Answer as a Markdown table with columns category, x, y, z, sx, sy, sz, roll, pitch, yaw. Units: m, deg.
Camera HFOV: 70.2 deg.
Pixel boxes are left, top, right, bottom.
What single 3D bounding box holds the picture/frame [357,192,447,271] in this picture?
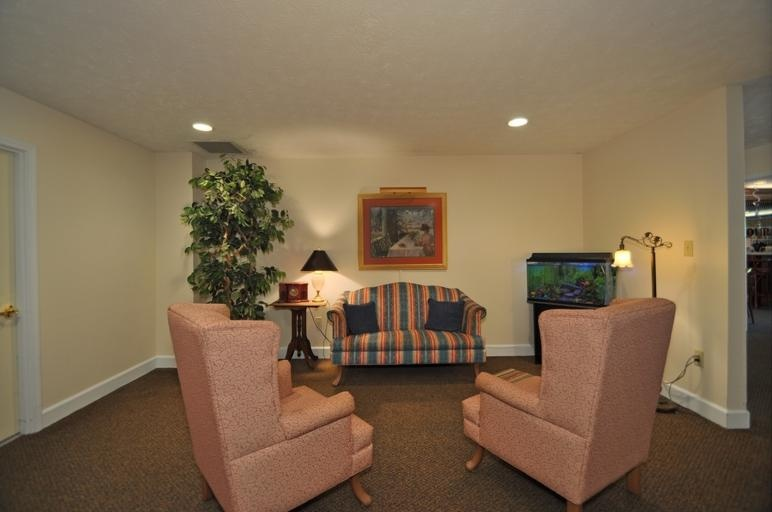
| category | x | y | z | sx | sy | sz | roll | pitch | yaw |
| --- | --- | --- | --- | --- | --- | --- | --- | --- | --- |
| picture/frame | 0.206 | -0.335 | 7.093 | 1.025 | 0.820 | 0.076 | -1 | 2 | 0 |

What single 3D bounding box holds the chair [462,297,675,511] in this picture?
| category | x | y | z | sx | sy | sz | roll | pitch | yaw |
| --- | --- | --- | --- | --- | --- | --- | --- | --- | --- |
| chair | 1.642 | 1.150 | 5.051 | 1.542 | 1.883 | 1.747 | 1 | -1 | -29 |

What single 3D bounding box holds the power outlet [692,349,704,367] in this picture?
| category | x | y | z | sx | sy | sz | roll | pitch | yaw |
| --- | --- | --- | --- | --- | --- | --- | --- | --- | --- |
| power outlet | 3.132 | 1.016 | 5.496 | 0.059 | 0.170 | 0.176 | 3 | -5 | -5 |

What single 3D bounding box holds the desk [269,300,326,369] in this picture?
| category | x | y | z | sx | sy | sz | roll | pitch | yaw |
| --- | --- | --- | --- | --- | --- | --- | --- | --- | --- |
| desk | -1.072 | 0.964 | 7.003 | 0.800 | 0.921 | 0.800 | 1 | 1 | -6 |

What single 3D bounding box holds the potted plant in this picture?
| category | x | y | z | sx | sy | sz | roll | pitch | yaw |
| --- | --- | --- | --- | --- | --- | --- | --- | --- | --- |
| potted plant | -1.742 | -0.197 | 6.331 | 1.133 | 1.822 | 0.508 | -1 | 2 | -20 |

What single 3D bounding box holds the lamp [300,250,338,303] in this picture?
| category | x | y | z | sx | sy | sz | roll | pitch | yaw |
| --- | --- | --- | --- | --- | --- | --- | --- | --- | --- |
| lamp | -0.864 | 0.247 | 6.912 | 0.505 | 0.638 | 0.510 | -12 | 1 | -16 |

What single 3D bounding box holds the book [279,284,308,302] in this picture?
| category | x | y | z | sx | sy | sz | roll | pitch | yaw |
| --- | --- | --- | --- | --- | --- | --- | --- | --- | --- |
| book | -1.134 | 0.431 | 6.721 | 0.343 | 0.222 | 0.217 | 0 | -7 | -3 |
